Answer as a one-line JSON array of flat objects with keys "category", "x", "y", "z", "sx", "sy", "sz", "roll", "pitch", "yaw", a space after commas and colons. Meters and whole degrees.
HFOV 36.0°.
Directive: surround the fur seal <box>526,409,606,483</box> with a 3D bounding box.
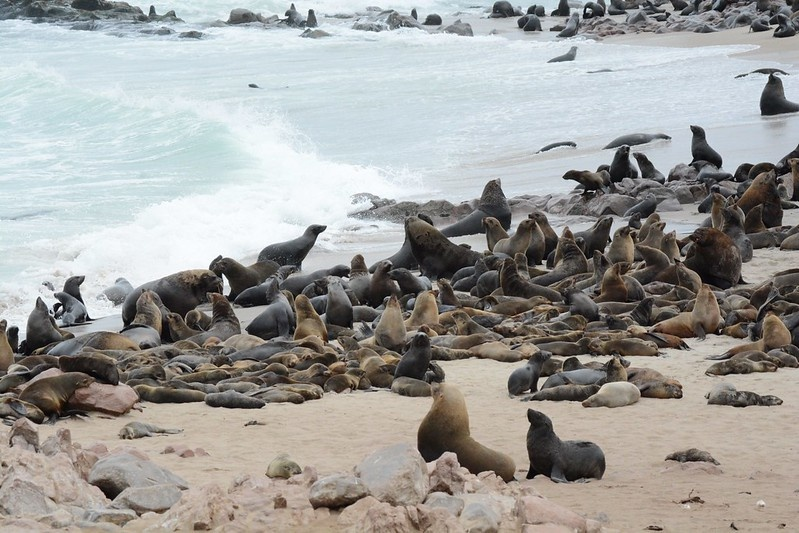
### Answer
[{"category": "fur seal", "x": 3.057, "y": 3.450, "z": 23.675, "sx": 1.583, "sy": 0.949, "sz": 1.451, "roll": 7, "pitch": -7, "yaw": -7}]
